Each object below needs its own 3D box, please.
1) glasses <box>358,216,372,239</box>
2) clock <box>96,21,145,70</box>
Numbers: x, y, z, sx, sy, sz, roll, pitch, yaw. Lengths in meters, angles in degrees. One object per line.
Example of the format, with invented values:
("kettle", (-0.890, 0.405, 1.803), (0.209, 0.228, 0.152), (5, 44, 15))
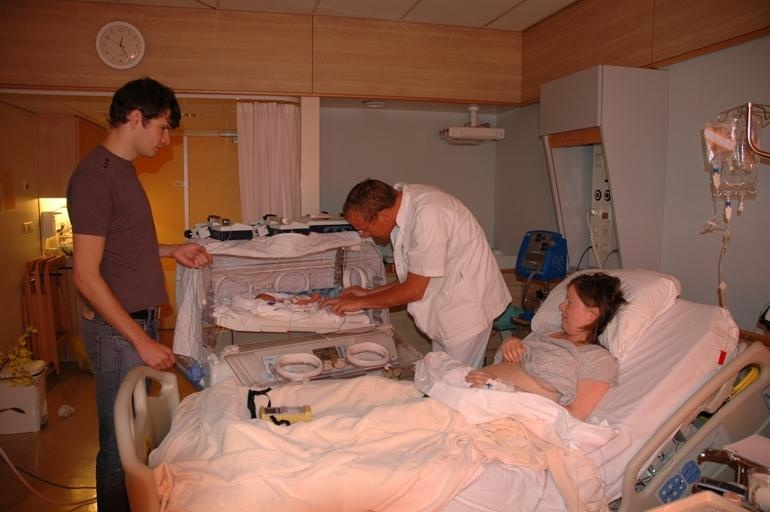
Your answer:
("glasses", (-0.115, -0.176, 3.219), (0.071, 0.065, 0.096), (24, -8, 43))
("clock", (-2.127, -1.662, 4.436), (0.379, 0.357, 0.367), (6, 6, -11))
